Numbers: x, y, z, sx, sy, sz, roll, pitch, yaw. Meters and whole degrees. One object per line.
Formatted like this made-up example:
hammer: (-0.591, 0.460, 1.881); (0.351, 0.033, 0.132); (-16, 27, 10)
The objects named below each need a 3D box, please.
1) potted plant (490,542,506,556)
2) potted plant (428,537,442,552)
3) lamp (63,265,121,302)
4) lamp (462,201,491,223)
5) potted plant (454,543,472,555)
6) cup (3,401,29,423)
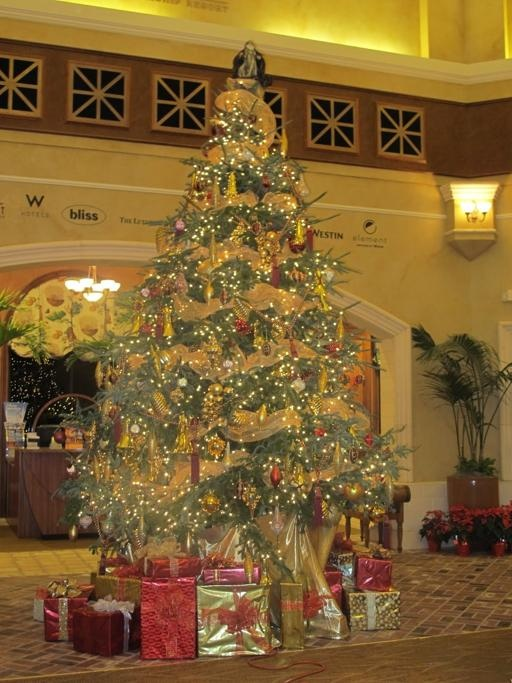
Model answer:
potted plant: (2.080, 1.773, 7.585); (0.139, 0.098, 0.130); (0, -8, 0)
potted plant: (1.598, 1.811, 7.887); (0.136, 0.091, 0.128); (0, -7, -1)
lamp: (-2.154, -0.710, 11.536); (0.633, 0.407, 0.595); (1, 1, 4)
lamp: (2.055, -1.191, 8.368); (0.315, 0.247, 0.188); (0, 0, 0)
potted plant: (1.779, 1.775, 7.617); (0.130, 0.117, 0.125); (0, -5, -18)
cup: (-2.932, 0.854, 10.796); (0.271, 0.226, 0.289); (-1, -1, 0)
